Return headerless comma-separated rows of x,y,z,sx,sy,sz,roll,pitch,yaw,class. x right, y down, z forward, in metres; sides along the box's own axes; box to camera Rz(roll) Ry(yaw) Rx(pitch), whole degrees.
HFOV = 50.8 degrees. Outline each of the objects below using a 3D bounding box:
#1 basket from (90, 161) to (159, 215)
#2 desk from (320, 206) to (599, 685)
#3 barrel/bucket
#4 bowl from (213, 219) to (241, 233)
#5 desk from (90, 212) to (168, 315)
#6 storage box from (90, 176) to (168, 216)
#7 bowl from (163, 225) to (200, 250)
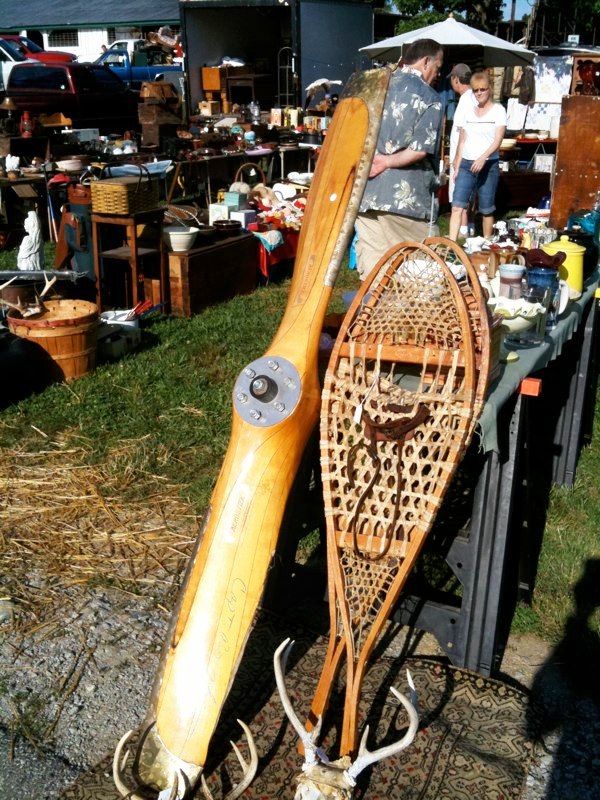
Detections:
-1.533,-1.843,5.557,0.488,0.371,0.519,8,23,18,basket
0.594,0.216,2.169,0.651,1.243,1.505,21,49,24,desk
-1.672,-0.477,4.386,0.526,0.428,0.582,2,23,2,barrel/bucket
-0.776,-1.822,6.590,0.225,0.099,0.215,3,35,-2,bowl
-1.652,-1.316,5.981,0.624,0.934,0.944,-17,27,-38,desk
-1.616,-1.819,5.563,0.428,0.266,0.565,15,23,33,storage box
-1.113,-1.528,5.929,0.249,0.150,0.252,1,30,0,bowl
